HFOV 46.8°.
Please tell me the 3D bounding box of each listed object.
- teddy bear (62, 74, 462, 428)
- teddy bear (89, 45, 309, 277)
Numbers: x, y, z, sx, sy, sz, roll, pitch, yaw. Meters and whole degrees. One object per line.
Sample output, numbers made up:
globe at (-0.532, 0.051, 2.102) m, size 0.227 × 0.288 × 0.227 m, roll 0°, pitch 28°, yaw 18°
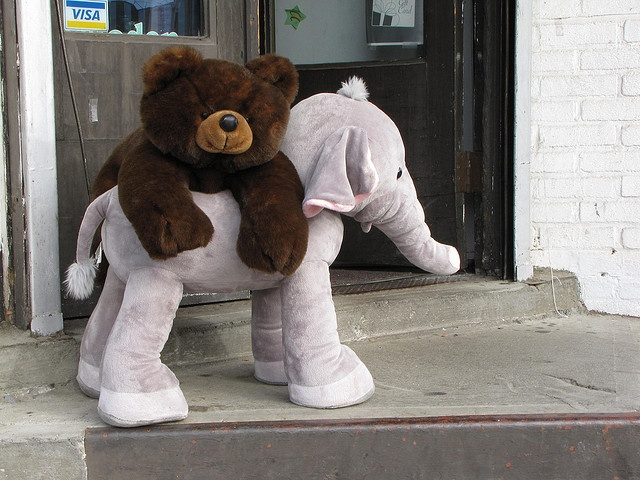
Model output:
teddy bear at (-0.204, 0.008, 2.744) m, size 1.304 × 1.299 × 0.820 m, roll 2°, pitch 11°, yaw -15°
teddy bear at (-0.412, -0.350, 2.771) m, size 0.629 × 0.723 × 1.084 m, roll 0°, pitch 13°, yaw -19°
